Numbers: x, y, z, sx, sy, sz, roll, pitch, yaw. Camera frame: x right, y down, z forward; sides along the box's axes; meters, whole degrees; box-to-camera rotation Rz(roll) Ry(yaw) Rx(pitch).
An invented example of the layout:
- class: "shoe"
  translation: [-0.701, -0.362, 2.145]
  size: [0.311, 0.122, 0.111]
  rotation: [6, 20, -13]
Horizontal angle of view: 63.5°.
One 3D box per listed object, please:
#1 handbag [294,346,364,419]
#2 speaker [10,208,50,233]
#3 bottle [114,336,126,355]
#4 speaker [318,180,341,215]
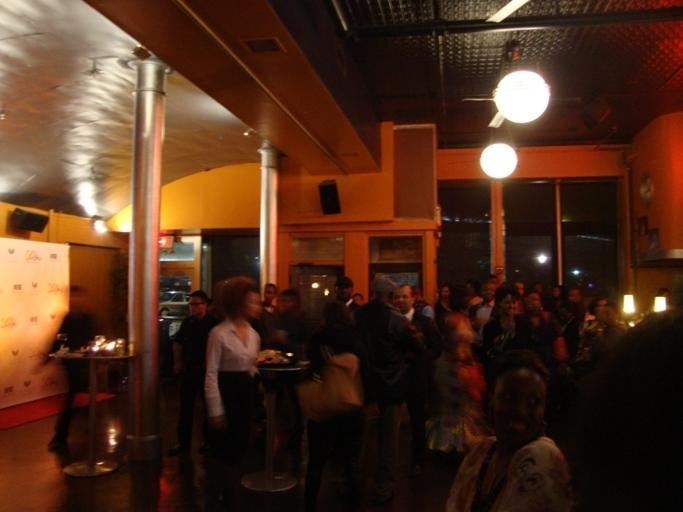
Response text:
- class: "handbag"
  translation: [-0.039, 0.902, 3.862]
  size: [0.461, 0.457, 0.406]
  rotation: [-12, -21, 18]
- class: "speaker"
  translation: [-4.929, -0.542, 8.726]
  size: [0.304, 0.275, 0.571]
  rotation: [14, -1, 5]
- class: "bottle"
  translation: [-2.295, 0.933, 5.628]
  size: [0.140, 0.208, 0.141]
  rotation: [0, -11, 0]
- class: "speaker"
  translation: [-0.185, -0.926, 8.757]
  size: [0.326, 0.545, 0.320]
  rotation: [-2, -3, 3]
